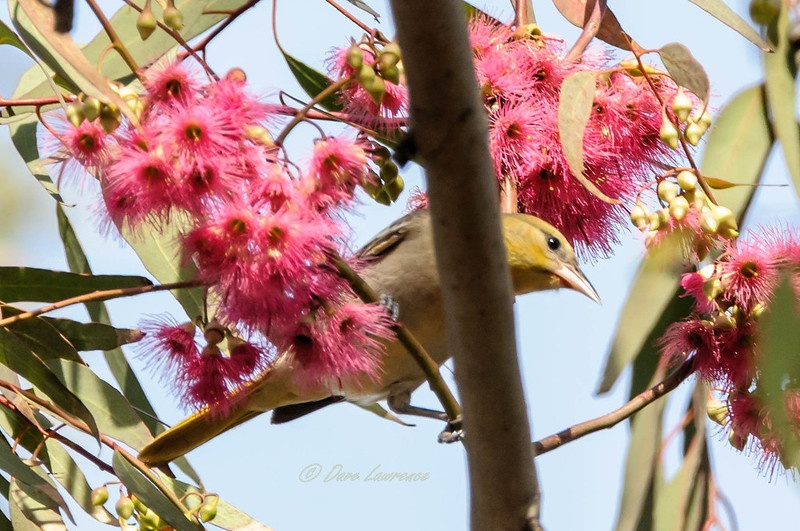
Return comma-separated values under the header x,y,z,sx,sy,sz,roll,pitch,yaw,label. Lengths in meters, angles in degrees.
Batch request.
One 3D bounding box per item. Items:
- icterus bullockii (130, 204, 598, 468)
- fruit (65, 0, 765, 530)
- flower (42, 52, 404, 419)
x,y,z,sx,sy,sz,roll,pitch,yaw,label
-0.110,0.241,4.333,1.467,0.740,0.545,-12,-23,13,icterus bullockii
0.054,-0.045,3.535,0.366,1.387,0.541,-16,10,39,fruit
-0.445,-0.051,3.651,0.786,0.687,0.452,-54,-7,26,flower
